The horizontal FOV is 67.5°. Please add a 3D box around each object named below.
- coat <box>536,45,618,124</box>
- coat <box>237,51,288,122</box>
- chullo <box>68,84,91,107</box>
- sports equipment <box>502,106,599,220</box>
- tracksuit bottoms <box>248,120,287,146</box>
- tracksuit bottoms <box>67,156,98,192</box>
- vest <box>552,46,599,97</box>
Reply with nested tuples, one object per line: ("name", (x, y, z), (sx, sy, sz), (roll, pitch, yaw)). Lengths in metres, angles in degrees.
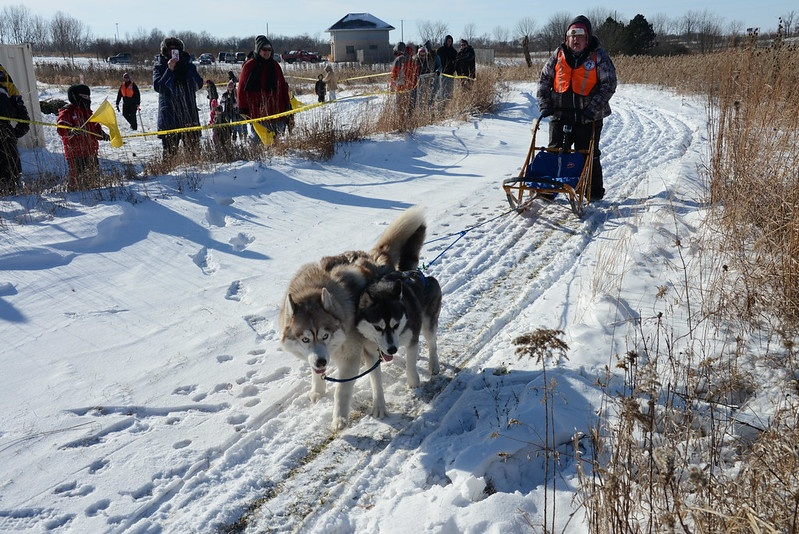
("coat", (2.775, -2.954, 9.400), (1.161, 1.179, 0.822), (12, 28, 27))
("coat", (-2.547, -3.336, 11.210), (1.027, 1.103, 0.589), (-7, 9, -27))
("chullo", (-5.321, -2.855, 9.985), (0.327, 0.465, 0.439), (5, 17, -12))
("sports equipment", (2.385, -1.660, 9.701), (1.063, 1.724, 1.892), (7, 20, 26))
("tracksuit bottoms", (-2.494, -2.531, 11.228), (0.380, 0.148, 0.704), (15, 33, -19))
("tracksuit bottoms", (-5.124, -1.514, 9.678), (0.433, 0.669, 0.198), (0, -12, 5))
("vest", (2.738, -3.040, 9.314), (0.637, 0.704, 0.389), (15, 26, 28))
